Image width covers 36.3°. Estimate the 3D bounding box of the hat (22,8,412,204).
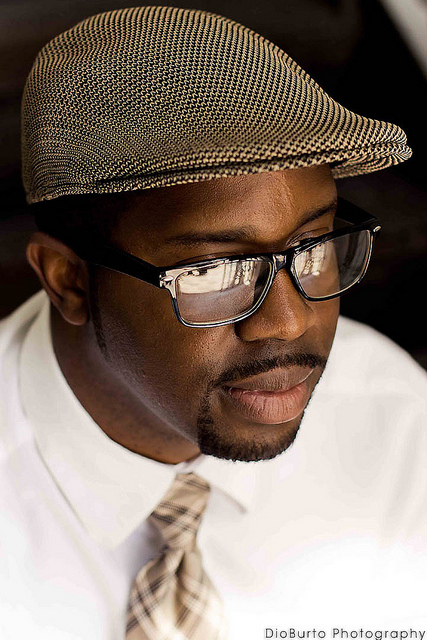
[{"bbox_3d":[-0.024,-0.294,1.011,0.510,0.187,0.367,-1,12,26],"label":"hat"}]
